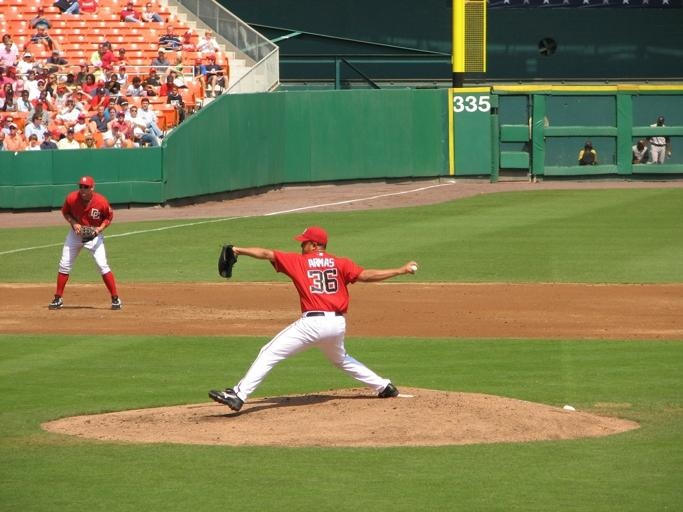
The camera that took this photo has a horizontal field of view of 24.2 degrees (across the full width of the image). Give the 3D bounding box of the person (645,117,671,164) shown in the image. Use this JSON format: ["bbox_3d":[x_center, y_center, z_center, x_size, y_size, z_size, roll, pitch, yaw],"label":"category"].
[{"bbox_3d":[10.412,-3.443,52.299,0.730,0.888,0.411,0,2,9],"label":"person"}]

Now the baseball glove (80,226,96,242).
[{"bbox_3d":[-5.264,-0.430,33.056,0.239,0.206,0.357,2,12,-20],"label":"baseball glove"}]

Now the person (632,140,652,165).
[{"bbox_3d":[9.829,-3.382,52.308,0.635,0.763,0.280,-1,2,1],"label":"person"}]

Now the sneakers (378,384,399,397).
[{"bbox_3d":[0.842,2.488,28.849,0.311,0.240,0.245,-38,9,-10],"label":"sneakers"}]

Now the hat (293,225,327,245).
[{"bbox_3d":[-0.570,-0.360,28.516,0.583,0.274,0.345,2,5,1],"label":"hat"}]

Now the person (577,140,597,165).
[{"bbox_3d":[8.077,-3.327,52.331,0.640,0.779,0.548,0,2,4],"label":"person"}]
